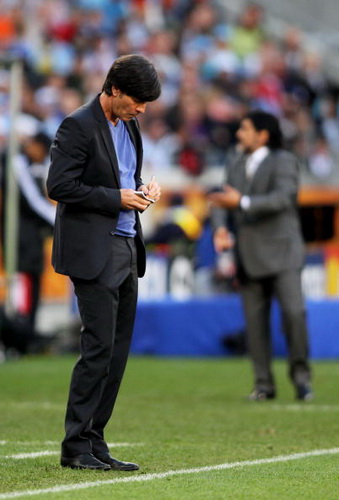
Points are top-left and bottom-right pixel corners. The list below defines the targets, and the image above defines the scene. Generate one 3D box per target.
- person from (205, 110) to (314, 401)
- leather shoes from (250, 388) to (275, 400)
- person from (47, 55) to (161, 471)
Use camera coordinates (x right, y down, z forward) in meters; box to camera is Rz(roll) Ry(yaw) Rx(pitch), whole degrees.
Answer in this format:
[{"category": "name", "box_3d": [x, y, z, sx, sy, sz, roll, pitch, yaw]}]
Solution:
[{"category": "person", "box_3d": [0.600, 0.037, 4.792, 0.619, 1.908, 0.539, 0, -5, 4]}, {"category": "leather shoes", "box_3d": [0.626, 0.945, 4.847, 0.128, 0.042, 0.087, -1, 1, -22]}, {"category": "person", "box_3d": [-0.241, 0.049, 2.669, 0.401, 1.464, 0.404, 1, -5, -1]}]
